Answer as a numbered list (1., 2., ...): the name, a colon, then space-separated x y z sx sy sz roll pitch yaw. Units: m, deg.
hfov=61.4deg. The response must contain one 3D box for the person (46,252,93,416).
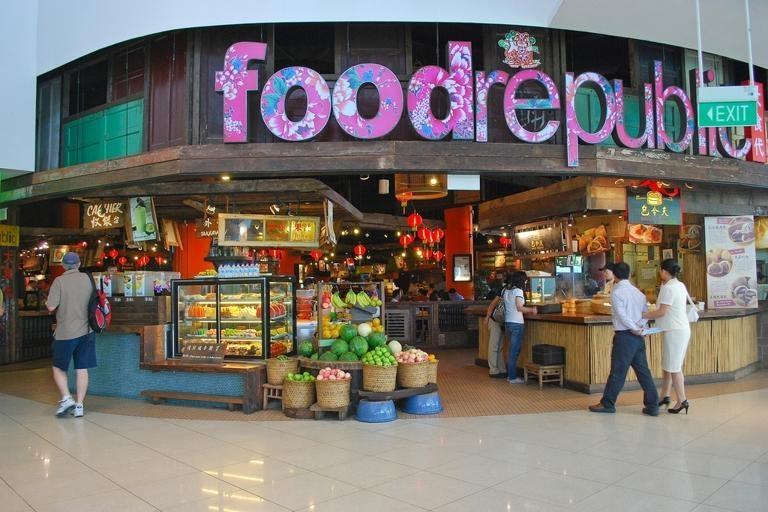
1. person: -5.123 1.262 10.623 0.856 2.662 0.757 0 -12 -24

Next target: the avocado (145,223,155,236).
1. avocado: -4.712 -0.543 13.006 0.204 0.144 0.198 -1 1 -22

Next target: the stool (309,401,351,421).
1. stool: -0.864 2.435 10.258 0.582 0.245 0.290 1 7 13

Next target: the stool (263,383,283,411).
1. stool: -1.878 2.329 10.770 0.396 0.391 0.397 -1 -2 31

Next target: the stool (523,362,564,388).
1. stool: 2.969 2.165 12.002 0.412 0.349 0.684 1 -3 -14

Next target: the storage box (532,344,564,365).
1. storage box: 2.976 1.802 11.964 0.486 0.242 0.345 -1 4 -24

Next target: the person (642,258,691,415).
1. person: 4.612 1.235 10.383 0.843 2.476 0.868 0 -1 31

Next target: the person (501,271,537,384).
1. person: 2.594 1.346 12.540 0.659 2.144 0.683 5 -7 -15

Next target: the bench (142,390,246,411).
1. bench: -3.251 2.401 10.957 2.013 0.243 0.200 2 7 16

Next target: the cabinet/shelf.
1. cabinet/shelf: -2.560 1.050 11.443 2.060 1.412 1.200 2 4 16

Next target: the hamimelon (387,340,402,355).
1. hamimelon: 0.142 1.509 10.704 0.194 0.218 0.189 -2 11 26

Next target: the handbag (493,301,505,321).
1. handbag: 2.214 1.058 12.567 0.173 0.350 0.358 11 -10 -4

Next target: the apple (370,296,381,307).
1. apple: -0.169 0.767 10.971 0.159 0.113 0.255 -1 7 0
